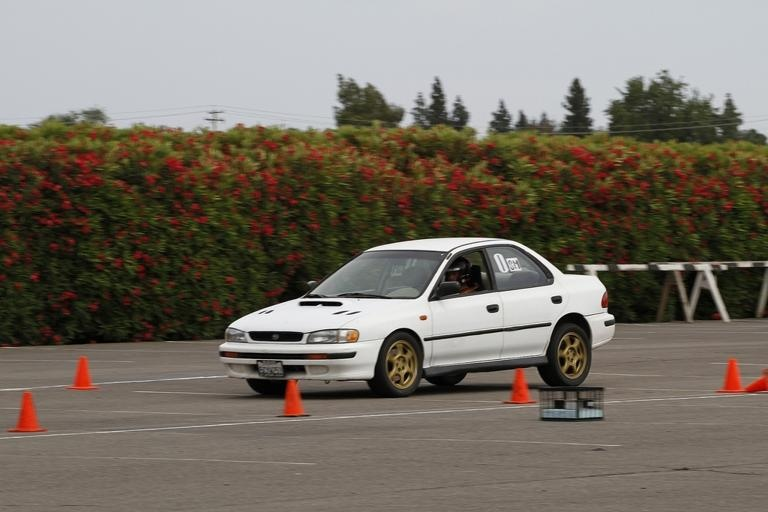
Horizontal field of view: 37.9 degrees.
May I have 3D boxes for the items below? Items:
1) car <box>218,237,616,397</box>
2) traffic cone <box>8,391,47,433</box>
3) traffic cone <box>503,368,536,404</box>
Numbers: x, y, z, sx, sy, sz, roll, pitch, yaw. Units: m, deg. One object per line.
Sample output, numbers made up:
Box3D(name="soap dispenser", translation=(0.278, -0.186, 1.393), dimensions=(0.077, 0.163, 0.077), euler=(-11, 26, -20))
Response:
Box3D(name="car", translation=(0.510, 0.848, 16.010), dimensions=(5.309, 2.098, 1.476), euler=(-2, -1, -30))
Box3D(name="traffic cone", translation=(-4.044, 1.766, 12.812), dimensions=(0.612, 0.452, 0.517), euler=(2, 3, -9))
Box3D(name="traffic cone", translation=(1.853, 1.730, 14.929), dimensions=(0.551, 0.426, 0.475), euler=(1, 4, 23))
